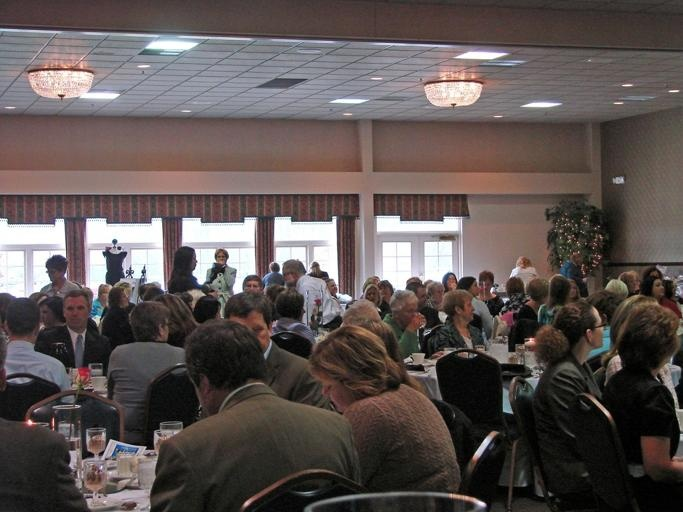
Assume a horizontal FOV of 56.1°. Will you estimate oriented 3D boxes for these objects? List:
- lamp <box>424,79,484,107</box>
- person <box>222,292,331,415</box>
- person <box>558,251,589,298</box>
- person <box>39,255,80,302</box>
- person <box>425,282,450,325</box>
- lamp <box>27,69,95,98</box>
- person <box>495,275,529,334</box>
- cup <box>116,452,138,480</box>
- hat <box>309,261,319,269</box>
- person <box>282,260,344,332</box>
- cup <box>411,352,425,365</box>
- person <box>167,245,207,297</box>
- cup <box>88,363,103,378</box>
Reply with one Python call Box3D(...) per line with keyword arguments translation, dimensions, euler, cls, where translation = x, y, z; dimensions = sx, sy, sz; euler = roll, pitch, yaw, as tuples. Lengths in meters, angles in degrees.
Box3D(translation=(1.955, -2.838, 11.108), dimensions=(1.030, 0.326, 0.513), euler=(-1, -1, 6), cls="lamp")
Box3D(translation=(-0.493, 0.833, 5.996), dimensions=(0.511, 1.015, 0.329), euler=(8, 10, 16), cls="person")
Box3D(translation=(5.009, 0.476, 13.740), dimensions=(0.641, 1.066, 0.472), euler=(11, 24, 44), cls="person")
Box3D(translation=(-4.049, 0.308, 9.281), dimensions=(0.707, 0.649, 0.348), euler=(-1, -4, 12), cls="person")
Box3D(translation=(1.379, 0.759, 9.430), dimensions=(0.351, 0.809, 0.258), euler=(-9, 19, 10), cls="person")
Box3D(translation=(-4.204, -2.597, 9.750), dimensions=(0.567, 0.222, 0.565), euler=(-2, -6, -5), cls="lamp")
Box3D(translation=(2.332, 0.723, 8.327), dimensions=(0.295, 0.883, 0.339), euler=(2, -3, -18), cls="person")
Box3D(translation=(-1.015, 0.995, 3.038), dimensions=(0.096, 0.074, 0.096), euler=(0, 1, 0), cls="cup")
Box3D(translation=(-0.486, 0.135, 11.416), dimensions=(0.140, 0.176, 0.177), euler=(5, -5, 2), cls="hat")
Box3D(translation=(-0.313, 0.632, 9.166), dimensions=(0.477, 1.113, 0.467), euler=(-15, 18, -5), cls="person")
Box3D(translation=(0.730, 0.968, 6.016), dimensions=(0.092, 0.070, 0.105), euler=(-1, -8, -5), cls="cup")
Box3D(translation=(-1.964, 0.160, 7.989), dimensions=(0.372, 0.570, 0.817), euler=(0, -1, -12), cls="person")
Box3D(translation=(-2.132, 1.000, 5.605), dimensions=(0.125, 0.119, 0.124), euler=(0, 2, 0), cls="cup")
